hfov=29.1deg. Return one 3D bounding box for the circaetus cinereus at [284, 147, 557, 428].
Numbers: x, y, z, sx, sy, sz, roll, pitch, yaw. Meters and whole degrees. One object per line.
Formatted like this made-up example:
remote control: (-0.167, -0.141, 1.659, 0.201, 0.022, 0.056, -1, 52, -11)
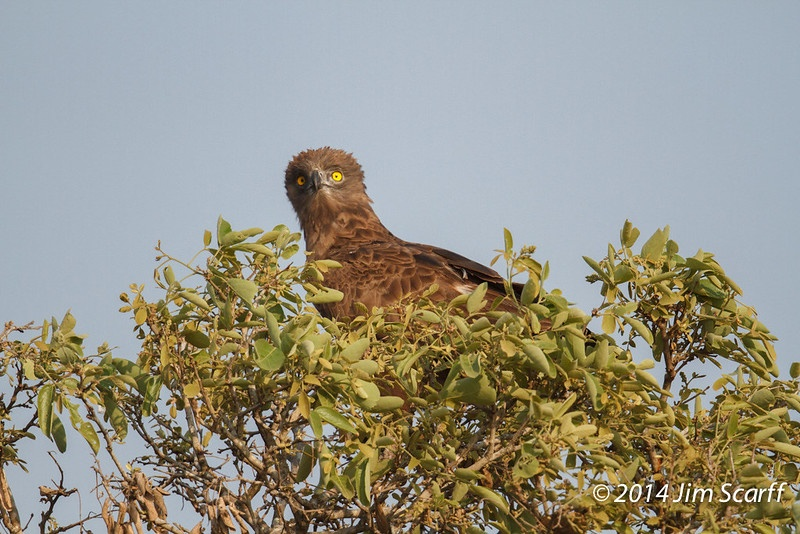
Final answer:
circaetus cinereus: (-0.124, -0.191, 10.646, 1.047, 2.731, 1.420, -1, -44, -11)
